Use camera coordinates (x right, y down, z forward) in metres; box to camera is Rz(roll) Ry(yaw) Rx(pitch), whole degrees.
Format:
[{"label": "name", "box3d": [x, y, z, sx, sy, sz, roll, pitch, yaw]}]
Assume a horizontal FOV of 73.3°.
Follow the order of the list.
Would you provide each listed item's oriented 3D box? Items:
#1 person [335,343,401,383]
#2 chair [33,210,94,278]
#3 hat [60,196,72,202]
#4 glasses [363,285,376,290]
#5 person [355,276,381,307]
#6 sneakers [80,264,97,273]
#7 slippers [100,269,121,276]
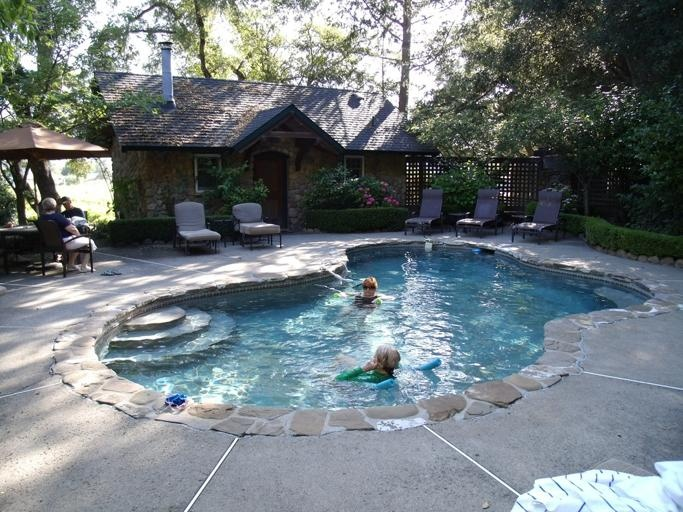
[{"label": "person", "box3d": [0.513, 1.520, 6.313, 0.925, 0.344, 0.616, -23, -26, 27]}, {"label": "chair", "box3d": [-6.245, -0.293, 10.436, 1.085, 1.360, 1.366, -2, 14, -7]}, {"label": "hat", "box3d": [-6.762, -1.391, 11.228, 0.168, 0.085, 0.176, -2, -1, 0]}, {"label": "glasses", "box3d": [0.558, 0.602, 8.817, 0.230, 0.119, 0.112, -3, 14, -12]}, {"label": "person", "box3d": [0.523, 0.750, 9.251, 0.667, 0.682, 0.388, 3, -7, 9]}, {"label": "sneakers", "box3d": [-5.939, 0.294, 10.765, 0.537, 0.181, 0.166, -4, 13, -29]}, {"label": "slippers", "box3d": [-5.219, 0.394, 10.386, 0.315, 0.072, 0.216, 1, 4, 20]}]
